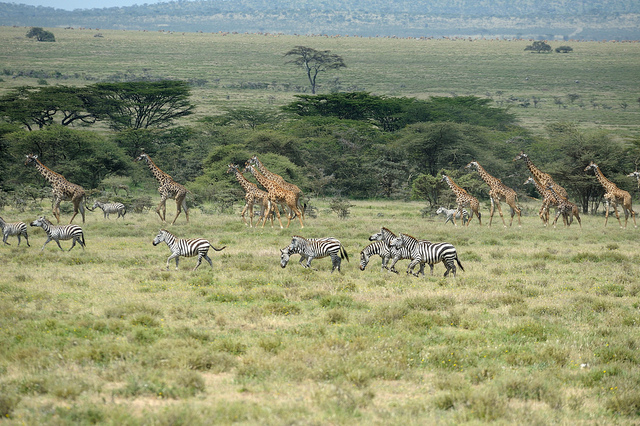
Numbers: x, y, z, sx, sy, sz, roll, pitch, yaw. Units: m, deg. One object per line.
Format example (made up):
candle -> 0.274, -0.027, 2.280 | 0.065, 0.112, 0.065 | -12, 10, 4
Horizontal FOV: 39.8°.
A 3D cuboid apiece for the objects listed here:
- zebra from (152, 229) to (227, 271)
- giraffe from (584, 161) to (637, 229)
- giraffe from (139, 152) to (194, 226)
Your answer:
zebra -> -13.148, 3.587, 86.405 | 5.530, 3.833, 2.333 | -1, 14, -4
giraffe -> 32.582, -1.851, 97.846 | 5.131, 6.980, 5.838 | 3, 14, 13
giraffe -> -16.712, -2.367, 96.903 | 3.860, 6.651, 6.118 | -4, 14, -15
